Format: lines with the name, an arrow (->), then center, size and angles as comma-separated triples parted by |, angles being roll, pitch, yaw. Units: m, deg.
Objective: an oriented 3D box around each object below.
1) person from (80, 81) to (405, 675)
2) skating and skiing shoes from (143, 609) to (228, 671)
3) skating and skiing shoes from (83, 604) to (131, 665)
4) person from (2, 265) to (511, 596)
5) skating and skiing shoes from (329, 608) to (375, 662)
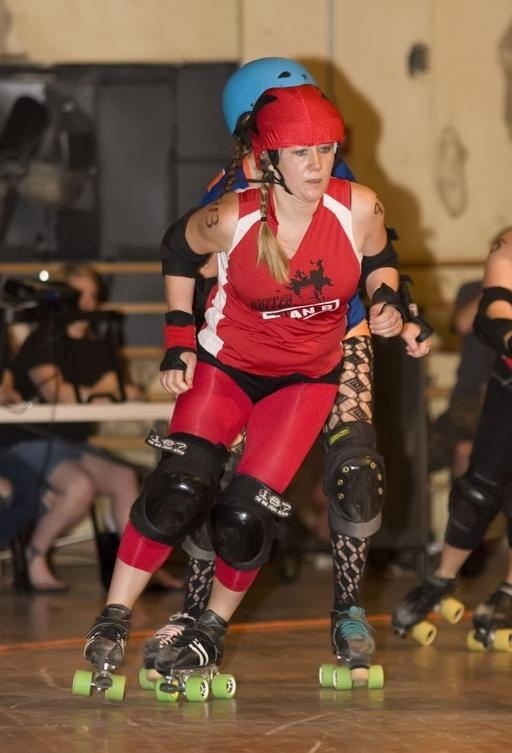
person -> 0.023, 0.001, 1.510 | 0.542, 1.212, 0.463 | 8, 10, -3
skating and skiing shoes -> -0.125, 0.556, 1.539 | 0.229, 0.133, 0.072 | 8, -8, -31
skating and skiing shoes -> -0.278, 0.496, 1.432 | 0.059, 0.068, 0.149 | 9, 26, 2
person -> -0.080, 0.188, 2.369 | 1.969, 1.135, 0.423 | 0, 24, -1
skating and skiing shoes -> 0.208, 0.576, 1.640 | 0.063, 0.069, 0.168 | -3, 11, -4
